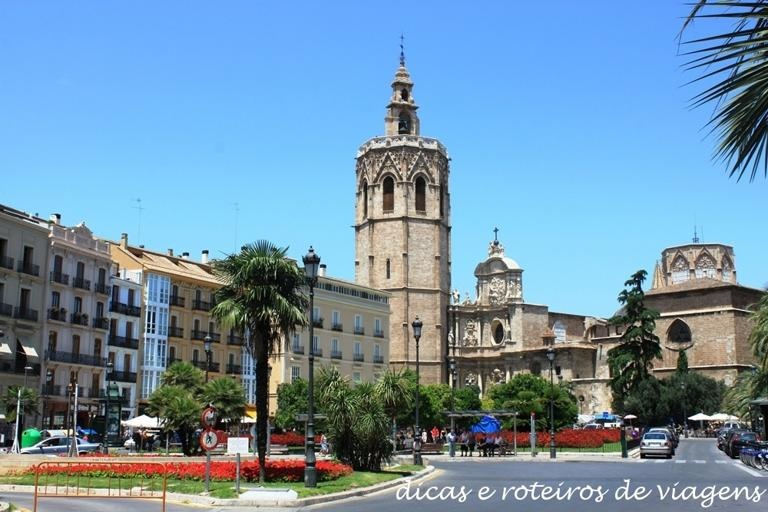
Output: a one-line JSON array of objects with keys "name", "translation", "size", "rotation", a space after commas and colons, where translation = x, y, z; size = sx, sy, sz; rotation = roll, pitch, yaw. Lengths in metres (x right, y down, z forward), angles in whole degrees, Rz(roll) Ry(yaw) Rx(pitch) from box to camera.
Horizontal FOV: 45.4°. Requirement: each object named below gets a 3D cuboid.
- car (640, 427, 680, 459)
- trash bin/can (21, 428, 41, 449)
[{"name": "car", "translation": [17.488, 12.003, 58.810], "size": [2.063, 2.101, 4.084], "rotation": [-4, -17, 15]}, {"name": "trash bin/can", "translation": [-22.352, 11.566, 57.994], "size": [1.036, 1.748, 0.967], "rotation": [-4, -15, 11]}]
